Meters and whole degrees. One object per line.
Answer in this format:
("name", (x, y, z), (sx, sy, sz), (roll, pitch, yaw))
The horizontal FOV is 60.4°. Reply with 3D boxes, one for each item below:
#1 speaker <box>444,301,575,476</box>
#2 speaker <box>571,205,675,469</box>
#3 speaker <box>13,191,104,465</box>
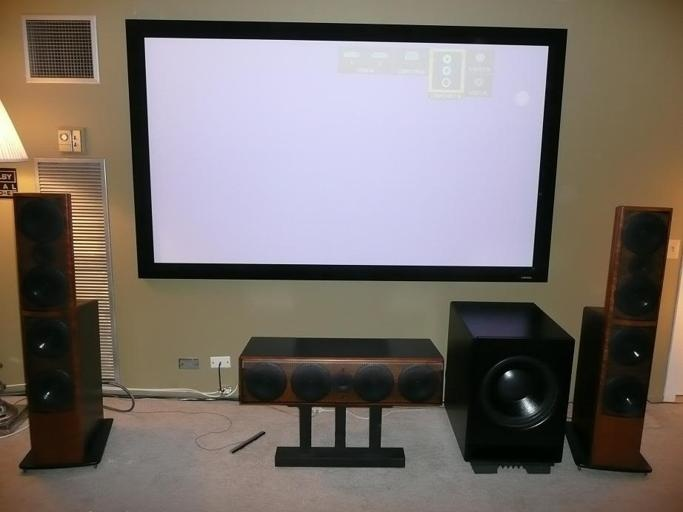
("speaker", (1.103, 0.758, 3.996), (0.610, 0.973, 0.944), (0, 20, 6))
("speaker", (1.675, 0.508, 3.556), (0.489, 1.614, 0.429), (4, 16, 22))
("speaker", (-1.748, 0.453, 3.522), (0.455, 1.657, 0.348), (-3, 15, -6))
